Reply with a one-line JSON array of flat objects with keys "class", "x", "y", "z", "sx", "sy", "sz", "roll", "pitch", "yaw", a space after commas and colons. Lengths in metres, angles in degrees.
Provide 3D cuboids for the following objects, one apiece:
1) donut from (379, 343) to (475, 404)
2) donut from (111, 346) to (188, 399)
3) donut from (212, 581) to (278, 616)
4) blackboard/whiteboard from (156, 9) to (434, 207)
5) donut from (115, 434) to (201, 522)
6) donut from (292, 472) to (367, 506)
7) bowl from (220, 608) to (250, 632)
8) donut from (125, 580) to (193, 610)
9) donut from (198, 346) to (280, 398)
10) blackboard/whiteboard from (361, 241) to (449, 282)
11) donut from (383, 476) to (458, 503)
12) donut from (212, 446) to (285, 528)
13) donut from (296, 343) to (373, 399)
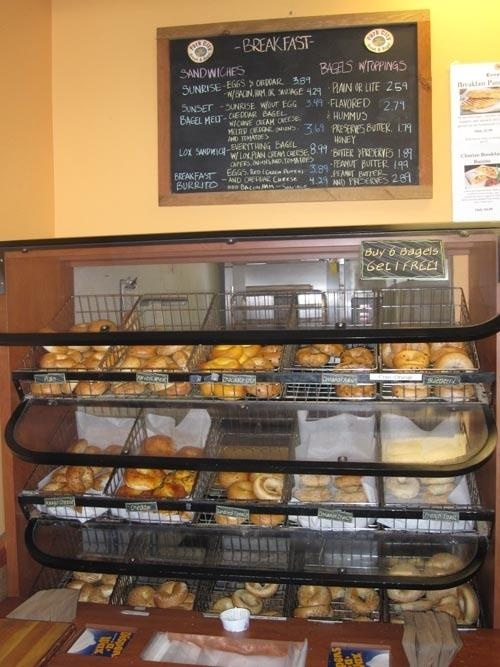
[{"class": "donut", "x": 0.620, "y": 0.135, "z": 2.101, "sx": 0.328, "sy": 0.185, "sz": 0.219, "roll": 1, "pitch": 7, "yaw": 7}, {"class": "donut", "x": -0.360, "y": 0.141, "z": 2.224, "sx": 0.317, "sy": 0.181, "sz": 0.186, "roll": 4, "pitch": 8, "yaw": 30}, {"class": "donut", "x": -0.016, "y": 1.032, "z": 2.364, "sx": 0.140, "sy": 0.074, "sz": 0.231, "roll": -9, "pitch": -7, "yaw": 40}, {"class": "blackboard/whiteboard", "x": 0.233, "y": -0.948, "z": 2.495, "sx": 0.983, "sy": 0.601, "sz": 0.043, "roll": 0, "pitch": 0, "yaw": 11}, {"class": "donut", "x": -0.349, "y": 0.557, "z": 2.277, "sx": 0.315, "sy": 0.079, "sz": 0.303, "roll": 2, "pitch": 41, "yaw": 3}, {"class": "donut", "x": 0.288, "y": 0.555, "z": 2.168, "sx": 0.271, "sy": 0.076, "sz": 0.137, "roll": 1, "pitch": 7, "yaw": 7}, {"class": "bowl", "x": -0.050, "y": 1.004, "z": 2.123, "sx": 0.104, "sy": 0.068, "sz": 0.076, "roll": -1, "pitch": 7, "yaw": -5}, {"class": "donut", "x": -0.360, "y": 1.047, "z": 2.414, "sx": 0.141, "sy": 0.049, "sz": 0.145, "roll": 6, "pitch": 5, "yaw": 32}, {"class": "donut", "x": -0.029, "y": 0.137, "z": 2.179, "sx": 0.294, "sy": 0.185, "sz": 0.238, "roll": 0, "pitch": 7, "yaw": 2}, {"class": "blackboard/whiteboard", "x": 0.501, "y": -0.247, "z": 1.993, "sx": 0.265, "sy": 0.126, "sz": 0.097, "roll": 1, "pitch": 7, "yaw": 8}, {"class": "donut", "x": 0.606, "y": 0.546, "z": 2.119, "sx": 0.262, "sy": 0.068, "sz": 0.077, "roll": 1, "pitch": 7, "yaw": 5}, {"class": "donut", "x": 0.000, "y": 0.596, "z": 2.240, "sx": 0.256, "sy": 0.191, "sz": 0.236, "roll": 0, "pitch": 7, "yaw": -2}, {"class": "donut", "x": 0.307, "y": 0.135, "z": 2.170, "sx": 0.289, "sy": 0.182, "sz": 0.212, "roll": 0, "pitch": 7, "yaw": 3}]
